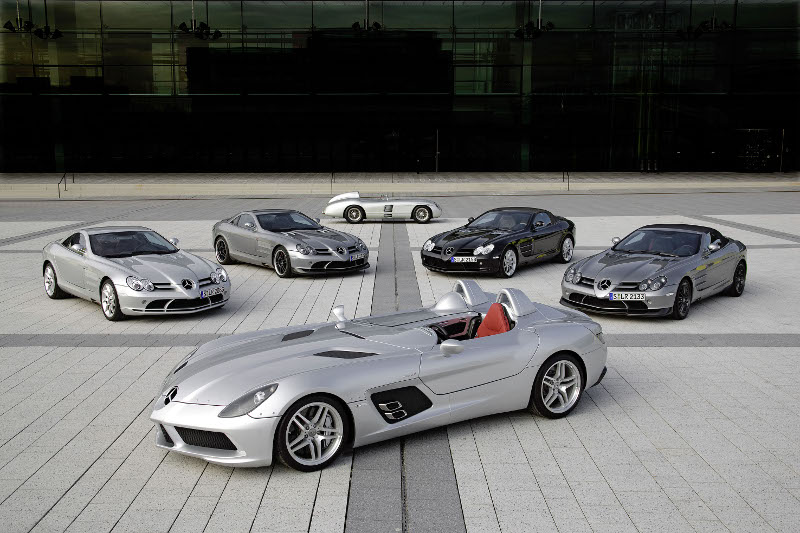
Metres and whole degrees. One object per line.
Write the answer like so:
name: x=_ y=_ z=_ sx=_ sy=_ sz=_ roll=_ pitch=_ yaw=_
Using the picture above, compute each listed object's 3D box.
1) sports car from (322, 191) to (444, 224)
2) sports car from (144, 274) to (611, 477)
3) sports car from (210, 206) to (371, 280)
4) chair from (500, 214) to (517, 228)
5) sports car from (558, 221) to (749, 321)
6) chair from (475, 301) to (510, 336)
sports car: x=-0.951 y=-2.660 z=23.325 sx=4.357 sy=1.176 sz=2.023 roll=-1 pitch=8 yaw=0
sports car: x=-0.213 y=1.306 z=6.162 sx=4.911 sy=1.243 sz=2.275 roll=-5 pitch=7 yaw=-25
sports car: x=-3.492 y=-0.740 z=14.567 sx=2.031 sy=1.187 sz=4.125 roll=-6 pitch=10 yaw=-43
chair: x=3.131 y=-1.296 z=14.654 sx=0.387 sy=0.490 sz=0.416 roll=7 pitch=25 yaw=23
sports car: x=5.877 y=-0.076 z=11.208 sx=4.153 sy=1.284 sz=2.020 roll=-5 pitch=6 yaw=-44
chair: x=1.215 y=0.675 z=6.730 sx=0.394 sy=0.512 sz=0.459 roll=6 pitch=12 yaw=37
